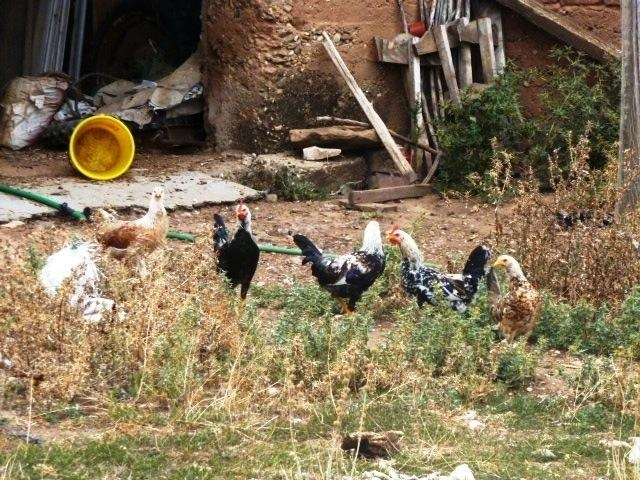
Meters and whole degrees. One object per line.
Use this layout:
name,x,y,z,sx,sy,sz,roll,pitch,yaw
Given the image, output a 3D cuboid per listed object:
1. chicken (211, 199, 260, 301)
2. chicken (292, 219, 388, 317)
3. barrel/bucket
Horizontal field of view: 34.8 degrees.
chicken,-0.843,0.173,10.144,0.409,1.112,1.154,-3,1,-19
chicken,0.165,0.283,10.180,0.992,0.890,0.530,-1,9,-13
barrel/bucket,-2.844,-1.163,13.260,0.810,0.675,0.624,2,-1,-18
